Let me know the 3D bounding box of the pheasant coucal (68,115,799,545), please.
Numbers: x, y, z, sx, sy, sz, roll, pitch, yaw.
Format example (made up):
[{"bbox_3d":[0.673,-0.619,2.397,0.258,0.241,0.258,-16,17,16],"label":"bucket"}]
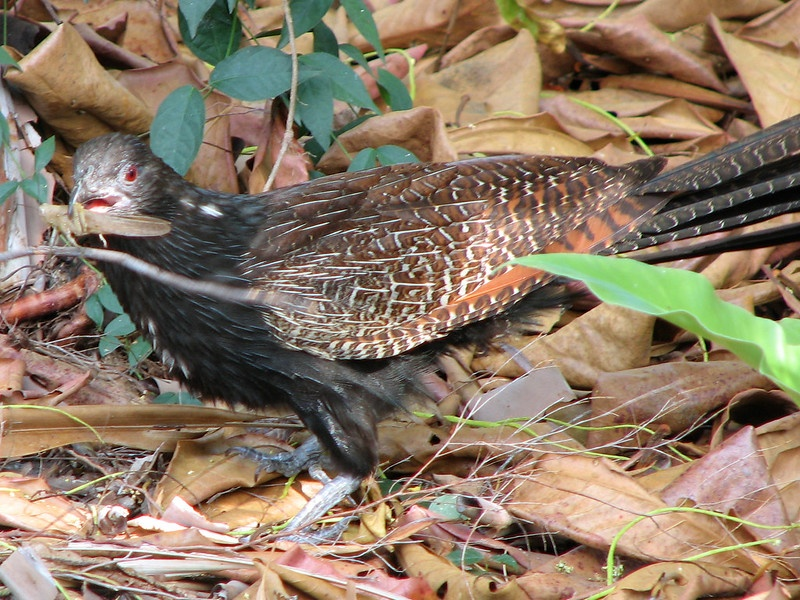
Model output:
[{"bbox_3d":[-0.064,-0.131,2.895,1.819,0.766,1.403,-36,62,-26],"label":"pheasant coucal"}]
